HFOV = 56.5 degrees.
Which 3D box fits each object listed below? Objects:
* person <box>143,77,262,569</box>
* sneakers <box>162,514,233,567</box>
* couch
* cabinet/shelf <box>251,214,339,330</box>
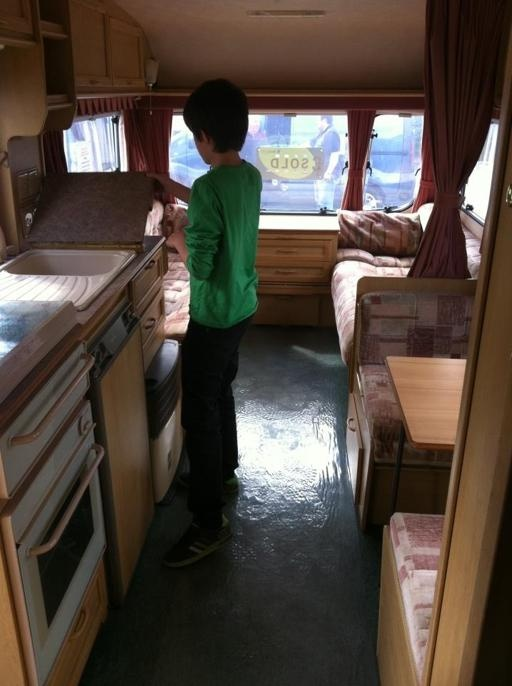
[{"bbox_3d":[-0.161,-0.009,1.725,0.425,1.683,0.244,-6,19,-21],"label":"person"},{"bbox_3d":[-0.233,0.798,1.924,0.266,0.137,0.100,-25,29,-34],"label":"sneakers"},{"bbox_3d":[1.387,-0.888,4.839,1.241,1.069,2.187,17,8,8],"label":"couch"},{"bbox_3d":[0.308,-0.508,4.258,0.934,1.123,0.709,0,26,2],"label":"cabinet/shelf"}]
